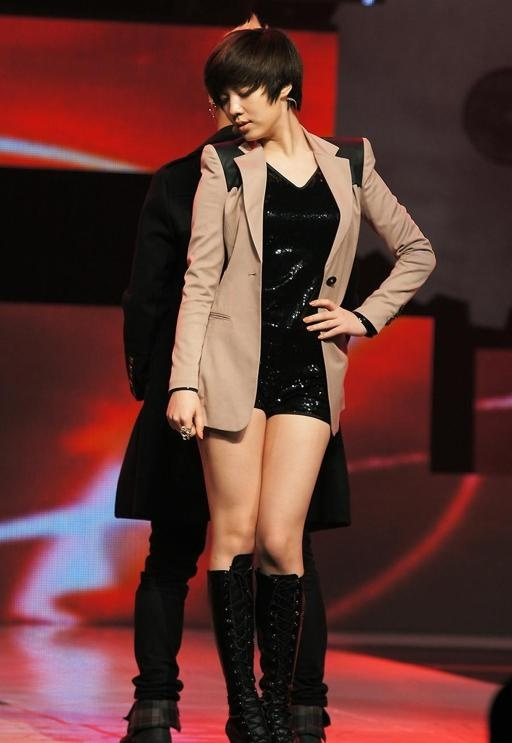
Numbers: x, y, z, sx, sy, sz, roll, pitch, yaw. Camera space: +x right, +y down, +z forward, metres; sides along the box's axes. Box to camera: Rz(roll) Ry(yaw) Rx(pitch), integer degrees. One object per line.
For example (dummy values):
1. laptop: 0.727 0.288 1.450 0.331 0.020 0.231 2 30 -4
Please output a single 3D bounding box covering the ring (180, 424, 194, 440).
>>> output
1. ring: -0.125 0.106 1.262 0.035 0.031 0.011 0 5 -4
